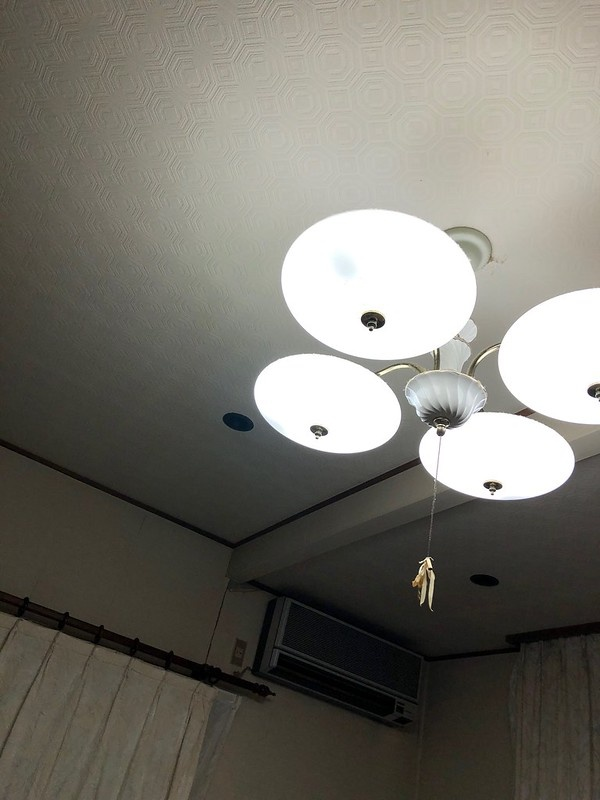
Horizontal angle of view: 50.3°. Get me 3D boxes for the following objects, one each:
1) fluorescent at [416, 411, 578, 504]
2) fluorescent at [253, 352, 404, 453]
[{"bbox_3d":[0.399,0.120,1.287,0.269,0.079,0.247,1,-31,27],"label":"fluorescent"},{"bbox_3d":[0.062,0.011,1.243,0.234,0.059,0.230,29,-48,-20],"label":"fluorescent"}]
